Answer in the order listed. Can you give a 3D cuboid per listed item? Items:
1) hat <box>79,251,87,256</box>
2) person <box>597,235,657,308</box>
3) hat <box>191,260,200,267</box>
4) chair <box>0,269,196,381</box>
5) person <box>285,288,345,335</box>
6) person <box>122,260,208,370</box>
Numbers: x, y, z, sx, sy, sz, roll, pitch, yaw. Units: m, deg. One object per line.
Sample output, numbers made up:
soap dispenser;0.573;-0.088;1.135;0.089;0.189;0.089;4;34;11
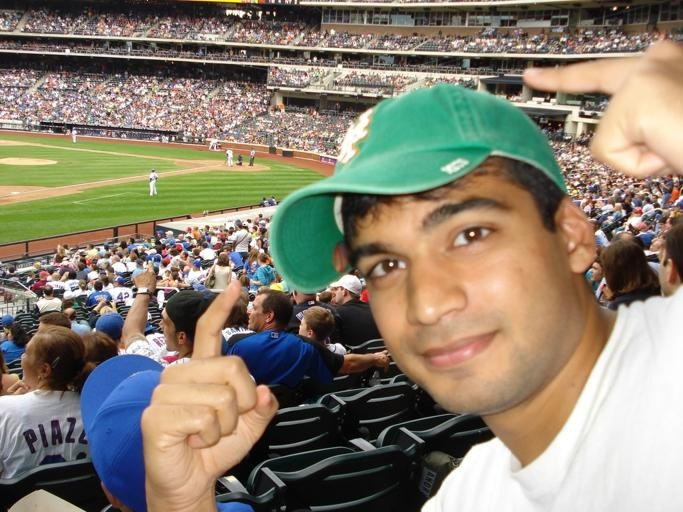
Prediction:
hat;-7.891;-0.011;17.852;0.207;0.052;0.214;13;17;43
person;3.073;0.227;6.162;0.448;0.723;0.520;-13;-20;32
hat;-3.583;0.214;14.443;0.141;0.195;0.191;21;15;-6
chair;-3.186;0.807;7.423;1.457;0.764;0.879;-16;34;-32
person;-0.294;0.676;6.779;0.514;0.496;1.427;-16;4;-17
person;-2.017;0.610;6.671;0.764;1.287;0.907;-5;31;-37
